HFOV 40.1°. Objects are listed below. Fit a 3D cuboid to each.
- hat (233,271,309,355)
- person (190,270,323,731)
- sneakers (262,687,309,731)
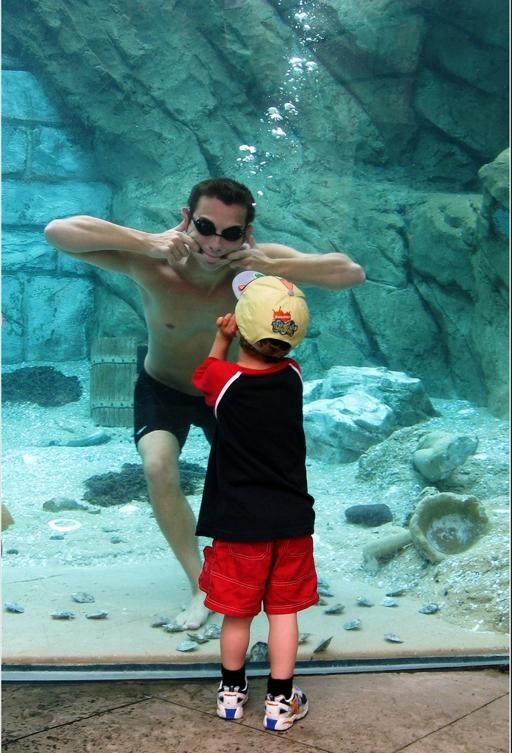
[{"bbox_3d":[0.026,-0.156,1.648,0.144,0.099,0.190,8,37,-17],"label":"hat"},{"bbox_3d":[-0.004,0.264,1.616,0.306,0.976,0.447,3,13,-6],"label":"person"},{"bbox_3d":[0.068,0.725,1.534,0.051,0.054,0.123,0,3,23],"label":"sneakers"}]
